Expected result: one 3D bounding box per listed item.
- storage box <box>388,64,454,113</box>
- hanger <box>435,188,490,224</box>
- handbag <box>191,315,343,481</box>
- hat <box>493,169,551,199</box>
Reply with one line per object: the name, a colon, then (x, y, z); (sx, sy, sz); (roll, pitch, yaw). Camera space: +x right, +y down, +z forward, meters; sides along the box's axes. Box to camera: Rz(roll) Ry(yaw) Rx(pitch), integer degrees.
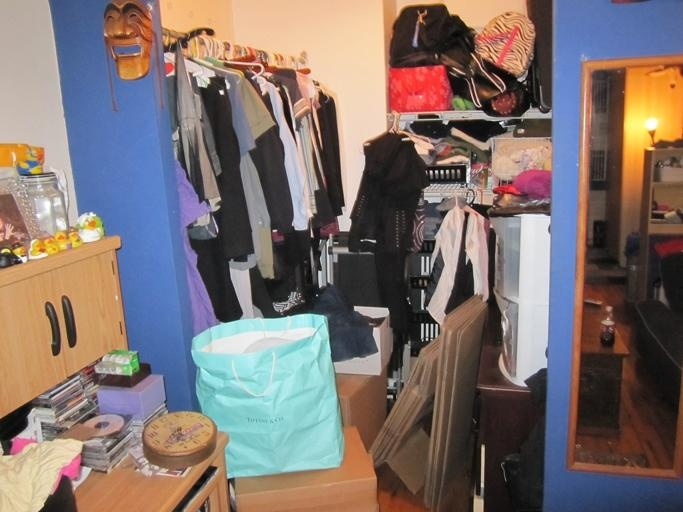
storage box: (0.469, -1.015, 3.413); (0.292, 0.217, 0.309); (1, 15, 13)
hanger: (0.726, -0.306, 3.366); (0.305, 0.164, 0.538); (-1, 13, 15)
handbag: (-0.219, 0.473, 2.321); (0.644, 0.682, 0.510); (-4, 23, 7)
hat: (0.817, -0.328, 2.529); (0.086, 0.121, 0.318); (-13, 15, -35)
